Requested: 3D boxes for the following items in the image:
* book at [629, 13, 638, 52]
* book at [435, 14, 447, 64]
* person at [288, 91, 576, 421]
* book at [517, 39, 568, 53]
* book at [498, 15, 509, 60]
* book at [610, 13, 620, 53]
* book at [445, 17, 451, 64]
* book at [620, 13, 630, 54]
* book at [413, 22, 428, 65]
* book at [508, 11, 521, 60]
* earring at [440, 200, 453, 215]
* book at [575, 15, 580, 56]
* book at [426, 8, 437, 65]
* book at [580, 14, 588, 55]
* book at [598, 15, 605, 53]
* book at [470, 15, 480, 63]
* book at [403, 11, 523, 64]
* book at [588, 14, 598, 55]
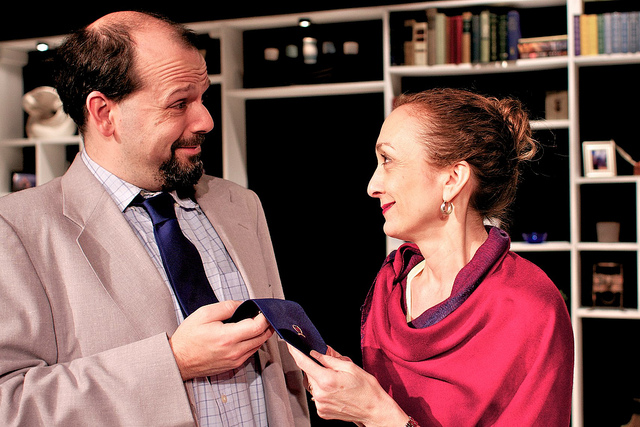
[{"bbox_3d":[2.171,-1.252,4.753,0.054,0.262,0.021,-1,4,17],"label":"book"},{"bbox_3d":[0.886,-1.277,5.040,0.080,0.353,0.034,-1,4,10],"label":"book"},{"bbox_3d":[0.639,0.173,3.140,0.964,1.477,0.419,0,4,20],"label":"person"},{"bbox_3d":[1.596,-1.199,4.933,0.338,0.080,0.014,-1,4,14],"label":"book"},{"bbox_3d":[1.328,-1.267,4.959,0.079,0.309,0.035,-2,4,4],"label":"book"},{"bbox_3d":[2.047,-1.251,4.766,0.064,0.263,0.040,-1,4,17],"label":"book"},{"bbox_3d":[0.941,-1.265,5.040,0.044,0.329,0.019,-1,4,11],"label":"book"},{"bbox_3d":[2.114,-1.250,4.760,0.063,0.264,0.028,-1,4,16],"label":"book"},{"bbox_3d":[0.747,-1.255,5.081,0.105,0.307,0.040,-1,4,8],"label":"book"},{"bbox_3d":[1.412,-1.284,4.964,0.105,0.341,0.066,-3,4,-13],"label":"book"},{"bbox_3d":[0.572,-0.027,3.057,0.050,0.061,0.022,-2,3,-1],"label":"earring"},{"bbox_3d":[1.811,-1.254,4.830,0.031,0.283,0.028,0,4,23],"label":"book"},{"bbox_3d":[0.821,-1.298,5.043,0.063,0.402,0.050,-1,4,19],"label":"book"},{"bbox_3d":[1.849,-1.250,4.808,0.050,0.264,0.033,-1,4,17],"label":"book"},{"bbox_3d":[1.961,-1.252,4.785,0.040,0.256,0.025,0,4,22],"label":"book"},{"bbox_3d":[1.130,-1.264,4.991,0.064,0.332,0.032,-1,4,19],"label":"book"},{"bbox_3d":[1.027,-1.279,5.041,0.835,0.377,0.110,-1,4,13],"label":"book"},{"bbox_3d":[1.906,-1.245,4.793,0.060,0.267,0.035,0,4,23],"label":"book"}]
